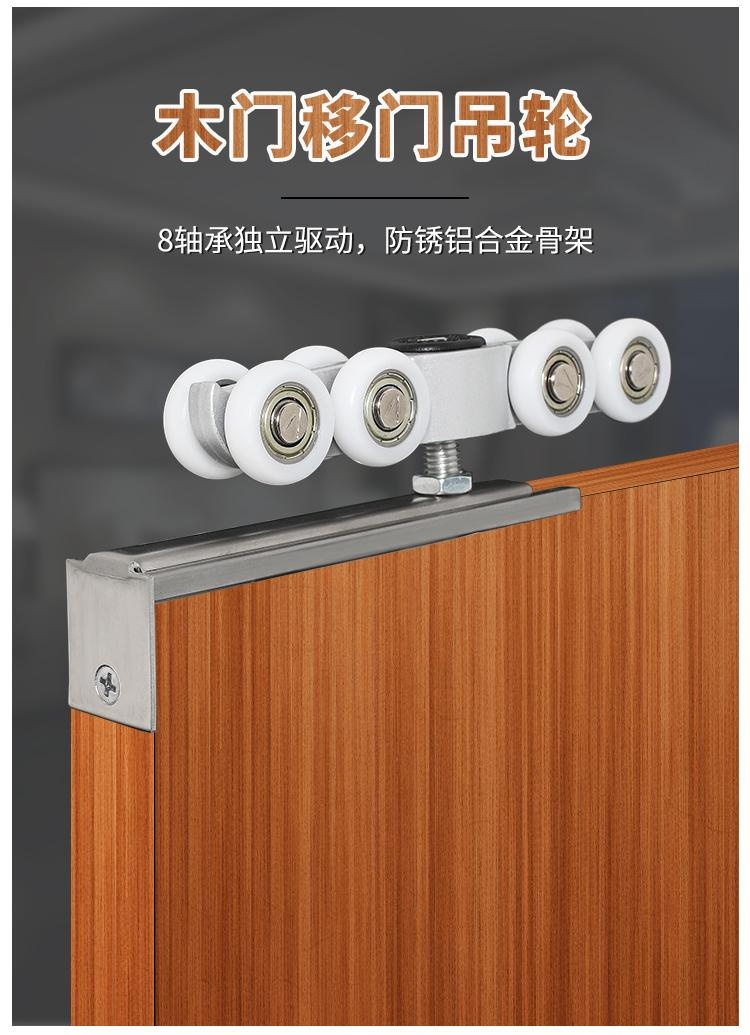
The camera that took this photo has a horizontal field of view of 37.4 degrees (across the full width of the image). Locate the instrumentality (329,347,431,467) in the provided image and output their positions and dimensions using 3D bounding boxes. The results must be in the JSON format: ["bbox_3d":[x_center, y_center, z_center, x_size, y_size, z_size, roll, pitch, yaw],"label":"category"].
[{"bbox_3d":[0.003,-0.061,0.597,0.059,0.071,0.022,-7,16,-42],"label":"instrumentality"}]

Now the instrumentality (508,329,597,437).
[{"bbox_3d":[0.107,-0.082,0.693,0.060,0.066,0.018,-2,6,-44],"label":"instrumentality"}]

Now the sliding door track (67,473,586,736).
[{"bbox_3d":[-0.045,0.041,0.615,0.056,0.086,0.278,8,11,32],"label":"sliding door track"}]

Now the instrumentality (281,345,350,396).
[{"bbox_3d":[-0.035,-0.088,0.631,0.028,0.031,0.008,7,-24,-27],"label":"instrumentality"}]

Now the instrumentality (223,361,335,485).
[{"bbox_3d":[-0.048,-0.049,0.556,0.055,0.067,0.020,-7,16,-38],"label":"instrumentality"}]

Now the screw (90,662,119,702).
[{"bbox_3d":[-0.122,0.075,0.507,0.001,0.020,0.018,-4,3,-41],"label":"screw"}]
